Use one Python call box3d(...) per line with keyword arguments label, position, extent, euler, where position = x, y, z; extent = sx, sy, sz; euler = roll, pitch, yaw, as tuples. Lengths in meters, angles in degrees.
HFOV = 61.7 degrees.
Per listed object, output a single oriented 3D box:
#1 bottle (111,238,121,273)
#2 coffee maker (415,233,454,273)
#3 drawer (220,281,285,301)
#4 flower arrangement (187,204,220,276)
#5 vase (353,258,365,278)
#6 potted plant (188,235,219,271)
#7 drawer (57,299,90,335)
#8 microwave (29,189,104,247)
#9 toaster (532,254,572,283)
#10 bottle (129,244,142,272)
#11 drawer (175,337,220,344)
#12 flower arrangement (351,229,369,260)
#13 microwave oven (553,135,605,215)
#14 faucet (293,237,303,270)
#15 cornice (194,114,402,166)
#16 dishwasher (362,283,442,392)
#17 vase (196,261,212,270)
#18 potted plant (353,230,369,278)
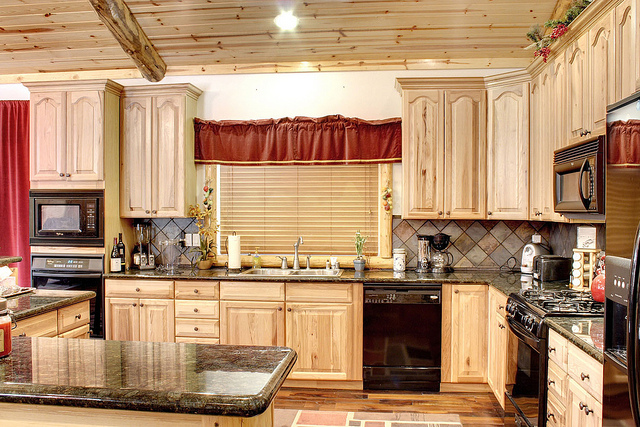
box3d(label="bottle", position=(-2.228, 0.449, 5.758), extent=(0.094, 0.336, 0.233), euler=(-3, 11, -21))
box3d(label="coffee maker", position=(1.231, 0.419, 5.814), extent=(0.437, 0.422, 0.257), euler=(1, 0, -8))
box3d(label="drawer", position=(-0.698, 0.779, 5.412), extent=(0.662, 0.190, 0.054), euler=(2, 10, 4))
box3d(label="flower arrangement", position=(-1.317, 0.257, 5.999), extent=(0.359, 0.720, 0.327), euler=(-2, 10, -14))
box3d(label="vase", position=(0.413, 0.579, 5.607), extent=(0.138, 0.154, 0.138), euler=(-1, -5, 6))
box3d(label="potted plant", position=(-1.320, 0.427, 5.998), extent=(0.334, 0.357, 0.324), euler=(-1, 10, -11))
box3d(label="drawer", position=(-2.081, 0.860, 4.475), extent=(0.186, 0.140, 0.293), euler=(0, -2, 7))
box3d(label="microwave", position=(-2.697, 0.053, 5.944), extent=(1.036, 0.751, 0.557), euler=(0, -3, 7))
box3d(label="toaster", position=(2.292, 0.542, 5.222), extent=(0.326, 0.230, 0.171), euler=(-2, 1, -9))
box3d(label="bottle", position=(-2.089, 0.486, 5.990), extent=(0.138, 0.244, 0.277), euler=(-3, 11, -20))
box3d(label="drawer", position=(-1.275, 1.292, 5.453), extent=(0.476, 0.043, 0.082), euler=(1, 10, 3))
box3d(label="flower arrangement", position=(0.430, 0.346, 5.830), extent=(0.195, 0.285, 0.297), euler=(2, 10, 4))
box3d(label="microwave oven", position=(2.166, -0.266, 4.285), extent=(0.403, 0.600, 0.717), euler=(-2, -1, 1))
box3d(label="faucet", position=(-0.254, 0.431, 5.928), extent=(0.104, 0.339, 0.230), euler=(0, 10, -3))
box3d(label="cornice", position=(-0.252, -0.799, 5.904), extent=(2.267, 0.551, 0.161), euler=(2, 10, 3))
box3d(label="dishwasher", position=(0.808, 1.274, 5.651), extent=(0.967, 1.367, 0.995), euler=(0, -7, 5))
box3d(label="vase", position=(-1.294, 0.568, 5.933), extent=(0.159, 0.101, 0.140), euler=(-1, 10, -13))
box3d(label="potted plant", position=(0.440, 0.422, 5.809), extent=(0.163, 0.413, 0.153), euler=(4, -2, 8))
